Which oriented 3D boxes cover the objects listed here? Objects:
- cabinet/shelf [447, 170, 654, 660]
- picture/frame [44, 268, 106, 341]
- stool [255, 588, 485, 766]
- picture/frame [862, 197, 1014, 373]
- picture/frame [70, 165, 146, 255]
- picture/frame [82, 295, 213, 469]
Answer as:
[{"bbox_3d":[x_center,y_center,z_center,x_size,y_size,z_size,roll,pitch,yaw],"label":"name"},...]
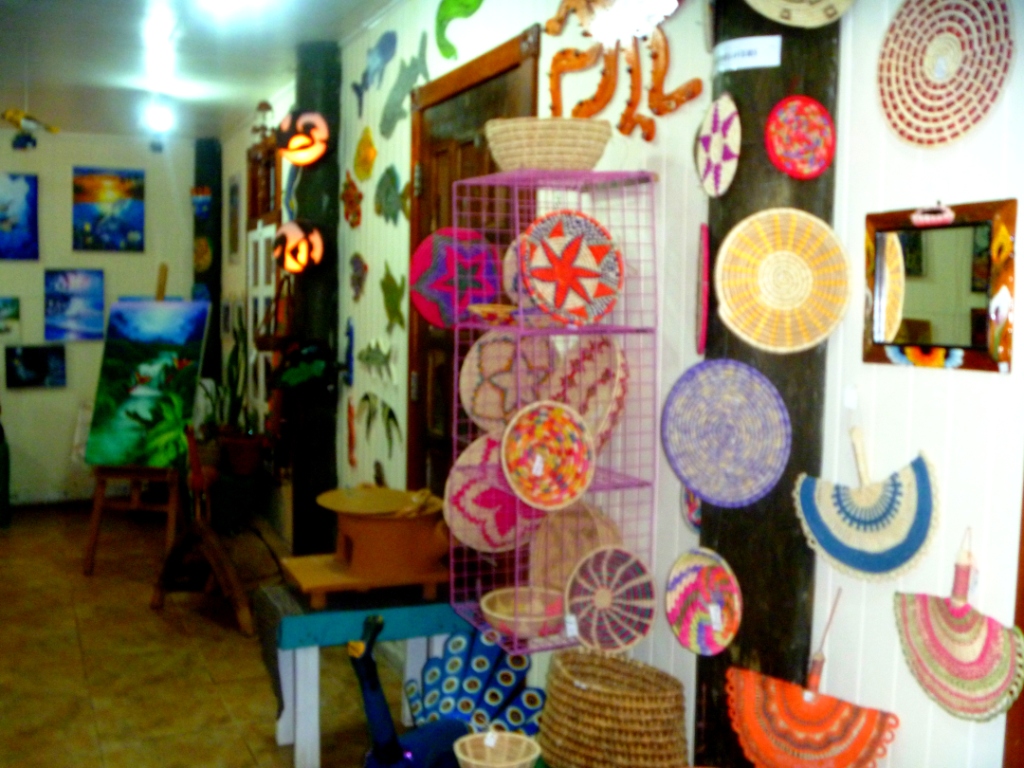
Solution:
[{"bbox_3d":[0.055,0.092,3.064,0.592,1.484,0.944,-2,6,-21],"label":"cabinet/shelf"},{"bbox_3d":[-3.449,-0.619,7.565,0.432,0.678,0.027,2,-29,-30],"label":"picture/frame"},{"bbox_3d":[-0.546,0.960,3.484,0.646,0.603,0.560,2,-6,-24],"label":"stool"},{"bbox_3d":[0.964,-0.221,2.145,0.022,0.380,0.308,-4,10,-34],"label":"picture/frame"},{"bbox_3d":[-3.220,-1.390,7.646,0.541,0.757,0.016,-9,41,-34],"label":"picture/frame"},{"bbox_3d":[-2.155,0.063,5.719,0.599,1.167,0.391,4,-31,-19],"label":"picture/frame"}]
